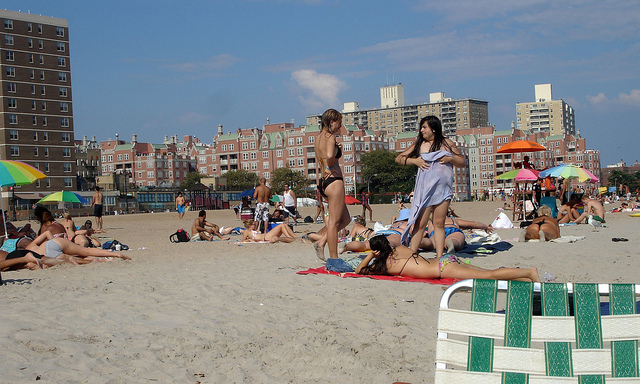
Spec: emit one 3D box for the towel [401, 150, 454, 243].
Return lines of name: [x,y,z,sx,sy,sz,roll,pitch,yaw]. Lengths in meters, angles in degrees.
towel: [2.140,-0.162,14.297,1.017,2.297,0.547,0,-19,15]

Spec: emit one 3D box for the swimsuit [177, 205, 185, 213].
swimsuit: [-8.225,0.998,44.631,0.643,0.628,0.380,-1,-3,-17]

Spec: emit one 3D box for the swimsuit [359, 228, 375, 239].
swimsuit: [1.115,1.004,18.479,0.328,0.144,0.965,-1,5,4]

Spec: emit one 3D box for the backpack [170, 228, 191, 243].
backpack: [-4.078,1.234,21.947,0.475,0.428,0.327,-21,30,-8]

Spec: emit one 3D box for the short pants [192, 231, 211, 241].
short pants: [-3.498,1.284,21.953,0.355,0.127,0.318,-5,1,12]

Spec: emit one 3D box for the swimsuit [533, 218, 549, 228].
swimsuit: [5.496,0.759,18.795,0.320,0.123,0.198,-4,6,-22]

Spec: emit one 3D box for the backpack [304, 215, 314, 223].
backpack: [-0.540,1.235,34.732,0.268,0.197,0.340,4,-14,-18]

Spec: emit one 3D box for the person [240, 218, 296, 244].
person: [-1.576,1.075,20.627,1.098,0.466,1.985,-6,7,-36]

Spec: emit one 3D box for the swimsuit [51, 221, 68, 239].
swimsuit: [-6.025,0.879,17.416,0.276,0.490,0.402,-13,-7,29]

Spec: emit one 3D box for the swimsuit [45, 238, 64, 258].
swimsuit: [-5.840,1.240,16.536,0.449,0.405,0.299,3,28,13]

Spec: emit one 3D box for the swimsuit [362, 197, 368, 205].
swimsuit: [2.117,0.437,36.283,0.262,0.288,0.302,3,12,12]

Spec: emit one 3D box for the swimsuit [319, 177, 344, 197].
swimsuit: [0.209,-0.075,14.451,0.390,0.202,0.386,6,-6,-15]

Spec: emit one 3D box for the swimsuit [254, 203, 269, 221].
swimsuit: [-1.845,0.602,23.848,0.411,0.523,0.561,-2,6,-2]

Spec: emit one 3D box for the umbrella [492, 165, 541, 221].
umbrella: [7.755,0.109,28.662,2.305,2.037,2.023,-2,0,32]

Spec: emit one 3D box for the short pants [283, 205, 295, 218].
short pants: [-1.327,0.807,30.877,0.640,0.556,0.345,-1,-1,-15]

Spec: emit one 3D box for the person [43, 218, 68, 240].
person: [-5.988,0.825,17.082,0.433,0.435,0.723,-4,6,-21]

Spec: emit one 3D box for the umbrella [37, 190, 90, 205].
umbrella: [-17.234,0.384,50.039,1.730,0.579,1.668,-2,-5,19]

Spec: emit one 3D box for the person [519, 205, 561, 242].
person: [5.528,0.801,18.920,0.718,0.764,1.950,3,7,25]

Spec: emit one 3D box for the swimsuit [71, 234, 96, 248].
swimsuit: [-5.905,1.233,19.288,0.277,0.348,0.154,-27,5,7]

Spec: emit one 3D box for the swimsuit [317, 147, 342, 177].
swimsuit: [0.215,-0.571,14.598,0.422,0.532,0.238,6,-3,42]

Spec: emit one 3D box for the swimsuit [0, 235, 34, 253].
swimsuit: [-6.921,1.170,17.059,0.381,0.276,0.354,-42,23,3]

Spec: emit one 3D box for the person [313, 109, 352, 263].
person: [0.220,-0.136,14.569,0.567,2.840,0.491,-1,6,9]

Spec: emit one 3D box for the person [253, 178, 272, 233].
person: [-1.908,0.443,24.023,0.682,1.802,0.585,3,-1,-34]

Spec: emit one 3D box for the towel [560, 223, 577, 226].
towel: [7.806,0.984,23.626,0.410,0.054,0.671,0,6,16]

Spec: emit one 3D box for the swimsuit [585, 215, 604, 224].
swimsuit: [7.952,0.850,21.919,0.429,0.144,0.316,15,1,13]

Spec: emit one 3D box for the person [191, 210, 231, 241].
person: [-3.197,1.022,22.182,1.264,0.871,0.781,0,4,-6]

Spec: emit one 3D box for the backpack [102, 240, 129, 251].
backpack: [-5.254,1.356,19.392,0.409,0.168,0.293,5,-6,-9]
